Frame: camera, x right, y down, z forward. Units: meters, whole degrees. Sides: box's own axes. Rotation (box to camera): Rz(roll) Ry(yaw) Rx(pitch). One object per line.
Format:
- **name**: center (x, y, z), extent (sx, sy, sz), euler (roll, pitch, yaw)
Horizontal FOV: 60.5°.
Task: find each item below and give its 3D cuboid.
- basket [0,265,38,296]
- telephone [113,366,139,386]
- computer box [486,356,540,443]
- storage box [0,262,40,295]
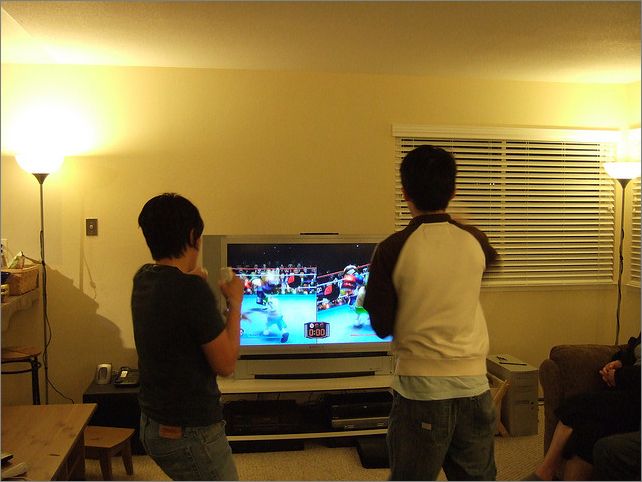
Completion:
- **basket**: center (-2.367, 0.303, 4.272), extent (0.153, 0.152, 0.295), euler (1, 5, 9)
- **telephone**: center (-1.483, 1.045, 4.185), extent (0.188, 0.047, 0.187), euler (2, 20, -5)
- **computer box**: center (1.478, 1.287, 4.542), extent (0.511, 0.531, 0.504), euler (-1, 2, -4)
- **storage box**: center (-2.312, 0.304, 4.265), extent (0.152, 0.149, 0.292), euler (2, 6, 10)
